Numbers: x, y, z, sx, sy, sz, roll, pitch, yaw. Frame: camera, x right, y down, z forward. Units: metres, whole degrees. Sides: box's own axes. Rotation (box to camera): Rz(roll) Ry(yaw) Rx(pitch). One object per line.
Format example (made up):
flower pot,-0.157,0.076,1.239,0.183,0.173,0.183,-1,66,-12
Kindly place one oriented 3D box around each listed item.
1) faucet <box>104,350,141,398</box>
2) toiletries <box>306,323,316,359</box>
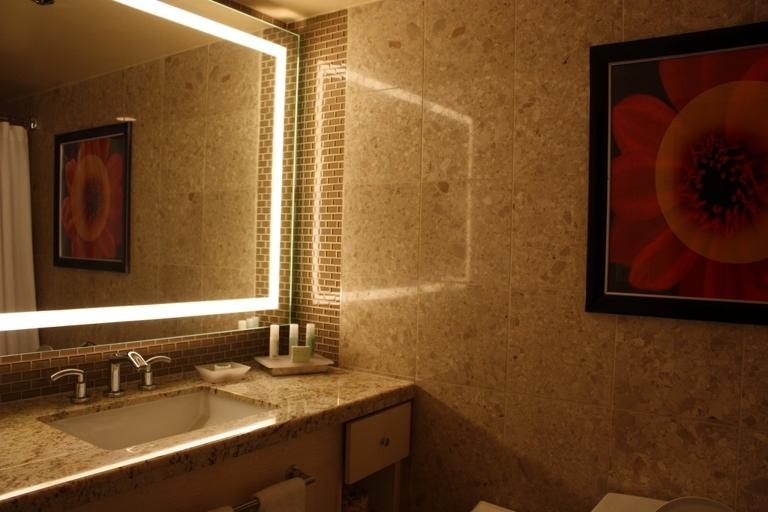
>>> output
faucet,-1.148,0.491,2.756,0.105,0.167,0.211,-3,13,-22
toiletries,-0.374,0.435,3.241,0.054,0.171,0.186,1,12,-5
